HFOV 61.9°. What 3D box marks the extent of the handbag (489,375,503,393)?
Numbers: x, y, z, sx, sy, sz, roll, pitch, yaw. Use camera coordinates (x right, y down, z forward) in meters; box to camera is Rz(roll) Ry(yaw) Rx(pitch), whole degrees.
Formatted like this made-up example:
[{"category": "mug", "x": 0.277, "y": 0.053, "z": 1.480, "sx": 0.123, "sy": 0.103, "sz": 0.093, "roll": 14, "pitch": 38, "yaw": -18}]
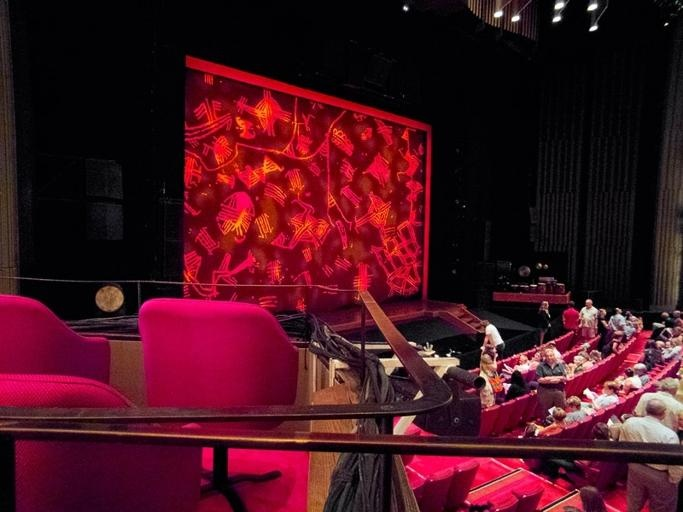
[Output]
[{"category": "handbag", "x": 1.990, "y": 1.639, "z": 7.366, "sx": 0.189, "sy": 0.260, "sz": 0.092, "roll": 14, "pitch": -15, "yaw": -39}]
